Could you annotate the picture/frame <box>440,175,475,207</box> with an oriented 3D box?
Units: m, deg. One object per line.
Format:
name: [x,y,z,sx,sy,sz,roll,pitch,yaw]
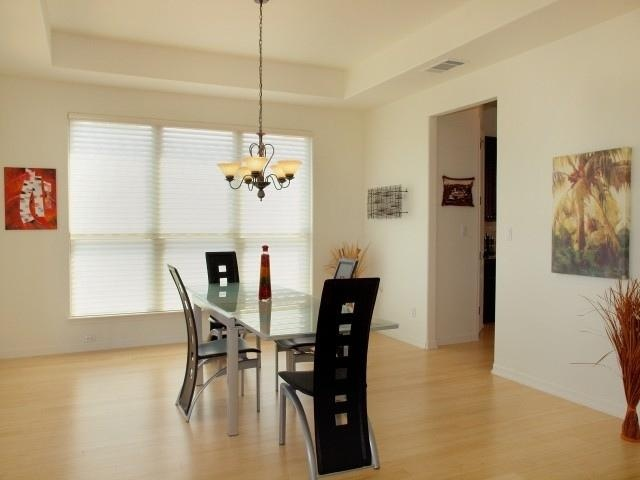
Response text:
picture/frame: [1.771,-0.627,5.987,0.576,0.394,0.113,-1,4,-36]
